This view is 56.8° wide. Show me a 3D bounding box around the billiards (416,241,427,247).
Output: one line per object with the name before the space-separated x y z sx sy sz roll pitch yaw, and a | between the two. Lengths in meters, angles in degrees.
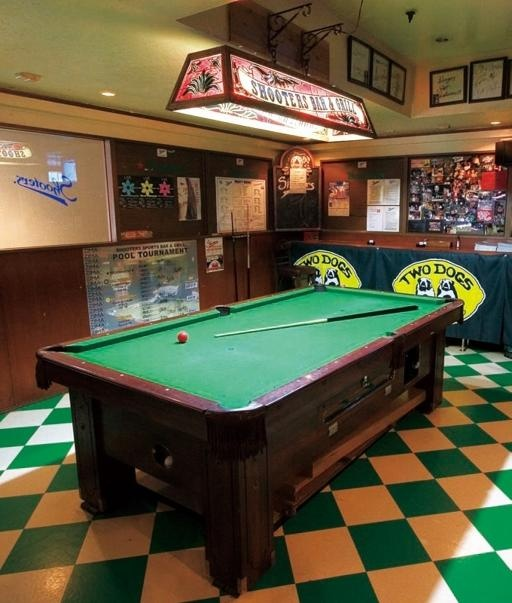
billiards | 2.127 -0.739 6.075 0.084 0.040 0.127 -1 6 12

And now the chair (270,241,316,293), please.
chair | 0.518 -0.500 6.635 0.632 0.934 0.655 11 21 34

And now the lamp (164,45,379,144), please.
lamp | 0.187 -1.195 2.860 0.480 0.220 1.434 11 14 40

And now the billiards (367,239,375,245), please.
billiards | 1.586 -0.818 6.522 0.098 0.044 0.125 1 12 14

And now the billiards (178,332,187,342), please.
billiards | -0.418 0.203 2.705 0.043 0.044 0.041 -15 39 -37

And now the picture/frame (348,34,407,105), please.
picture/frame | 1.100 -2.158 4.362 0.059 0.440 1.376 16 18 37
